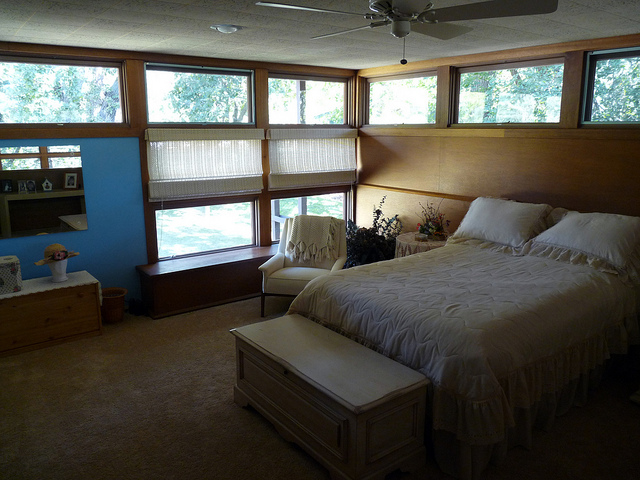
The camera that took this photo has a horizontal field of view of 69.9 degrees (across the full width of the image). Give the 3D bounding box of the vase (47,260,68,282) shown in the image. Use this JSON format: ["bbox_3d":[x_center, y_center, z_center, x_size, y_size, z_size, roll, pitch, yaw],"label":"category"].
[{"bbox_3d":[-2.836,0.318,4.986,0.246,0.238,0.216,1,4,20],"label":"vase"}]

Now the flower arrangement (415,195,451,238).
[{"bbox_3d":[1.506,-0.257,6.159,0.502,0.443,0.483,-2,-11,4],"label":"flower arrangement"}]

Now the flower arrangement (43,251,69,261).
[{"bbox_3d":[-2.836,0.158,4.932,0.122,0.030,0.118,-2,7,14],"label":"flower arrangement"}]

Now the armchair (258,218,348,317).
[{"bbox_3d":[-0.195,0.276,5.833,1.034,1.108,1.098,2,9,-17],"label":"armchair"}]

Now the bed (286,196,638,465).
[{"bbox_3d":[1.753,0.521,4.103,2.695,1.061,2.124,-10,17,-32],"label":"bed"}]

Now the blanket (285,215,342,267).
[{"bbox_3d":[-0.015,-0.010,5.969,0.580,0.616,0.667,1,11,-27],"label":"blanket"}]

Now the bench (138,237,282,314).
[{"bbox_3d":[-1.482,0.576,6.171,0.474,0.490,1.971,3,6,38],"label":"bench"}]
